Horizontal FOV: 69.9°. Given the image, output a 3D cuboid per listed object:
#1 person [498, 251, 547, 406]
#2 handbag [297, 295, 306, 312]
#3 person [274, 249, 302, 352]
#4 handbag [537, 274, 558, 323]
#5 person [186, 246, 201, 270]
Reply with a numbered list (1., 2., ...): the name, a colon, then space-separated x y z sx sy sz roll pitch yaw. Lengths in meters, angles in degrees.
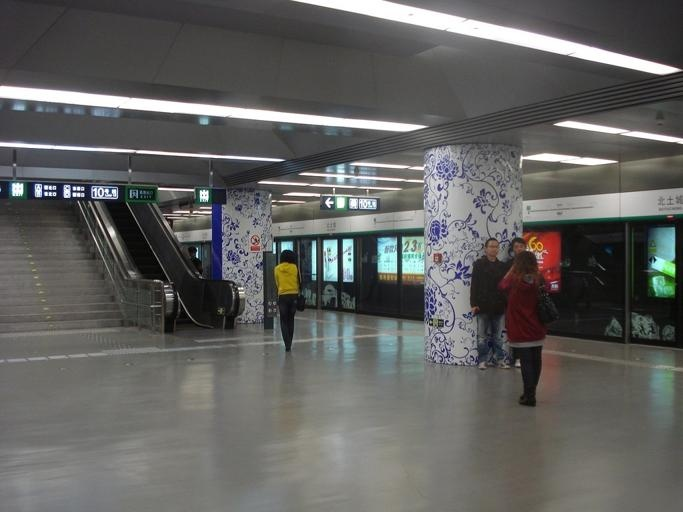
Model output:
1. person: 2.139 0.859 5.761 0.485 1.789 0.334 -3 1 22
2. handbag: -0.774 0.910 9.245 0.131 0.247 0.451 -3 1 0
3. person: -1.015 0.867 9.374 0.455 1.651 0.606 -3 1 -7
4. handbag: 2.426 0.554 5.768 0.198 0.594 0.344 -2 2 28
5. person: -4.444 0.150 14.732 0.357 0.750 1.454 -4 1 -18
